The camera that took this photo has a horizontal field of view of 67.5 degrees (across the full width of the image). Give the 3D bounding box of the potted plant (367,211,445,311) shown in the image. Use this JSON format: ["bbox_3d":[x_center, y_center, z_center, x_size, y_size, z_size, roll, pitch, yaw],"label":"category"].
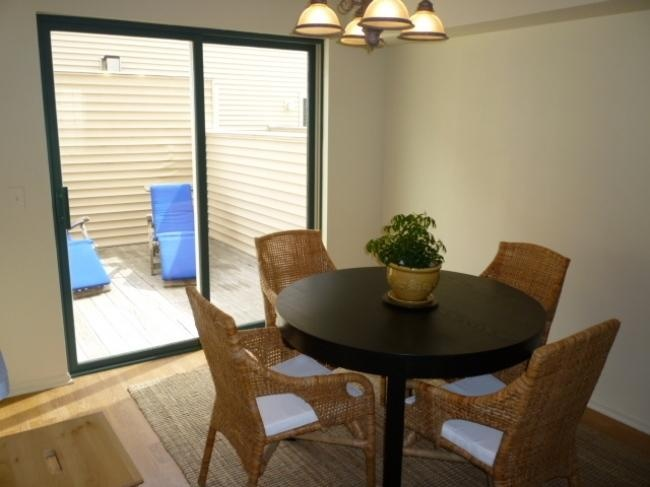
[{"bbox_3d":[0.445,0.083,2.562,0.415,0.438,0.313,-4,14,-19],"label":"potted plant"}]

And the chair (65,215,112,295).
[{"bbox_3d":[-1.813,0.027,3.870,0.318,0.538,0.541,-19,-17,-25],"label":"chair"}]

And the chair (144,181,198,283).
[{"bbox_3d":[-1.247,-0.105,4.079,0.428,0.717,0.728,-5,20,-28],"label":"chair"}]
